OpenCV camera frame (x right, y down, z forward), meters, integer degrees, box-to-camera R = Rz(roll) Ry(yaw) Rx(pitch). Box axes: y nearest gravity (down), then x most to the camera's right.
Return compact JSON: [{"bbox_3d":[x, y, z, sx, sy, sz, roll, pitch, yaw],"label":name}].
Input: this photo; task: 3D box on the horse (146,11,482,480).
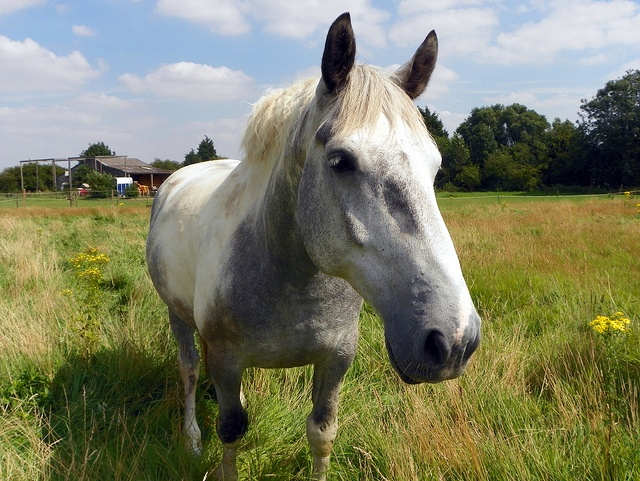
[{"bbox_3d":[-0.112,0.213,3.879,2.532,3.332,0.850,7,8,44],"label":"horse"}]
